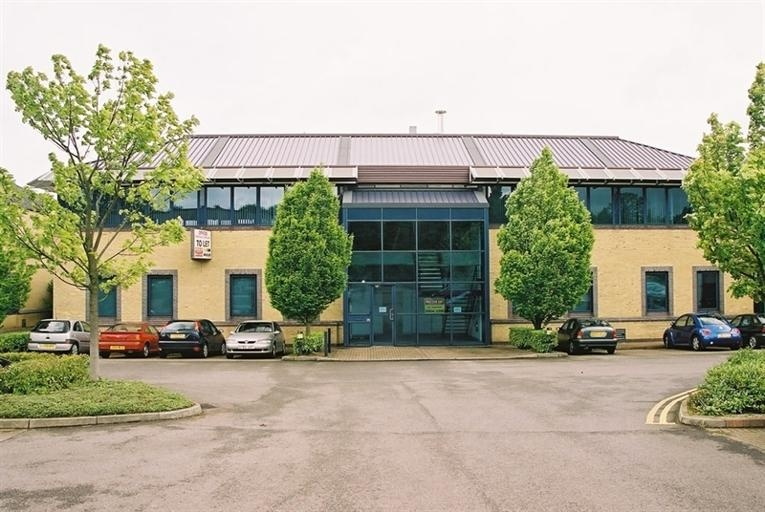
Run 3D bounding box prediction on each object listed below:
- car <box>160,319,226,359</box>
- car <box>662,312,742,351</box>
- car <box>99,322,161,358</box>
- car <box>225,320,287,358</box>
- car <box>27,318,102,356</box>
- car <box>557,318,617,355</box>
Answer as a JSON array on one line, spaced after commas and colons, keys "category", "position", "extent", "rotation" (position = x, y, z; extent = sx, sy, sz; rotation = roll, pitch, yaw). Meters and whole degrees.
[{"category": "car", "position": [-7.314, 3.173, 33.187], "extent": [1.292, 0.912, 2.346], "rotation": [-2, -2, 9]}, {"category": "car", "position": [12.914, 3.061, 34.032], "extent": [1.348, 0.968, 2.311], "rotation": [0, -1, -9]}, {"category": "car", "position": [-9.749, 3.286, 32.651], "extent": [1.318, 0.803, 2.234], "rotation": [-1, 0, 5]}, {"category": "car", "position": [-5.026, 3.198, 32.699], "extent": [1.939, 1.503, 1.838], "rotation": [-1, -8, -3]}, {"category": "car", "position": [-12.211, 3.031, 31.906], "extent": [2.103, 1.313, 1.463], "rotation": [3, -9, -29]}, {"category": "car", "position": [7.981, 3.172, 33.528], "extent": [1.391, 1.400, 2.212], "rotation": [4, -10, -33]}]
